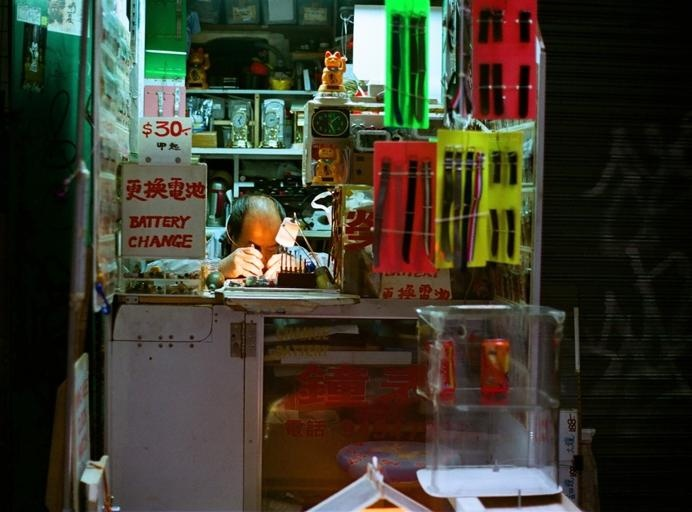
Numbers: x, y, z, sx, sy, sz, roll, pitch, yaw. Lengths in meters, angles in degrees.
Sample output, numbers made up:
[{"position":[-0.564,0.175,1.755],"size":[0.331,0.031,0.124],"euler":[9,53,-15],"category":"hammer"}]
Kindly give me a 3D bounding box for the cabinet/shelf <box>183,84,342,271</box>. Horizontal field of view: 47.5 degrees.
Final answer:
[{"position":[-0.594,-0.575,5.610],"size":[1.385,1.262,0.453],"euler":[0,8,-3],"category":"cabinet/shelf"}]

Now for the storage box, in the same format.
[{"position":[0.725,0.717,3.990],"size":[0.851,1.077,0.863],"euler":[0,-4,-4],"category":"storage box"}]
